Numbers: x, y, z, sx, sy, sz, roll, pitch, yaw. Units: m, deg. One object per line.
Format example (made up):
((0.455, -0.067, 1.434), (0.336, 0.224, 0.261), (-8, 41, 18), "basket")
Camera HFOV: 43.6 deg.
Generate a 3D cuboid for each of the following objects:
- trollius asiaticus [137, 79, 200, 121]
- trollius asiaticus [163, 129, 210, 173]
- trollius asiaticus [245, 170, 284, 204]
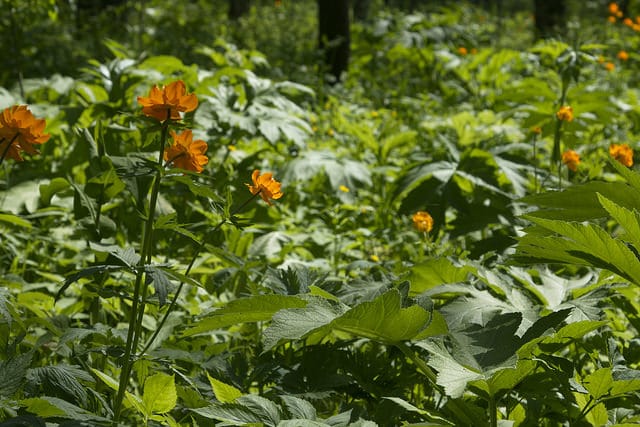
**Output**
((-0.636, -0.473, 3.389), (0.205, 0.113, 0.209), (-5, -24, 18), "trollius asiaticus")
((-0.576, -0.255, 3.455), (0.174, 0.208, 0.268), (-2, 24, -9), "trollius asiaticus")
((-0.232, -0.116, 3.511), (0.126, 0.048, 0.103), (-11, 16, -9), "trollius asiaticus")
